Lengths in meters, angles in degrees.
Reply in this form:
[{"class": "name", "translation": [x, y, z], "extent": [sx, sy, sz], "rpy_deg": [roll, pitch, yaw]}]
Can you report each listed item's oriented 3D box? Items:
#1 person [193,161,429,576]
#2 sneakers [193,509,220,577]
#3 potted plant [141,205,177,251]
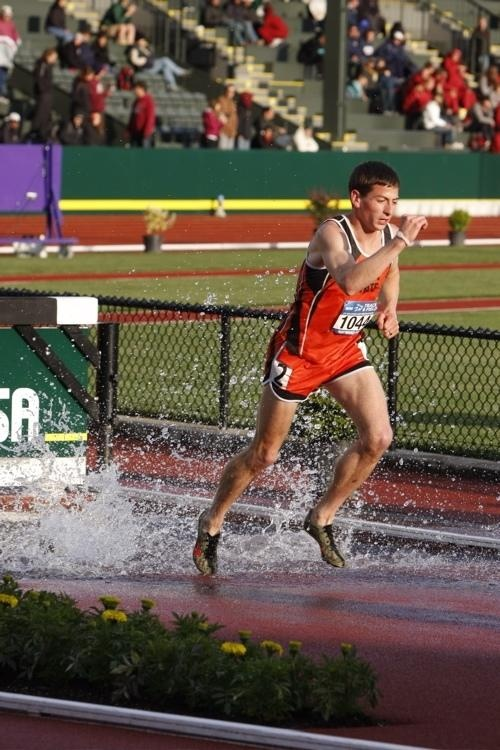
[{"class": "person", "translation": [0.305, 0.017, 4.366], "extent": [0.940, 1.974, 0.957], "rpy_deg": [3, 12, -14]}, {"class": "sneakers", "translation": [-0.208, 0.811, 4.598], "extent": [0.117, 0.288, 0.126], "rpy_deg": [12, -10, -42]}, {"class": "potted plant", "translation": [-2.084, -3.313, 21.841], "extent": [0.665, 0.988, 1.076], "rpy_deg": [4, 12, -7]}]
